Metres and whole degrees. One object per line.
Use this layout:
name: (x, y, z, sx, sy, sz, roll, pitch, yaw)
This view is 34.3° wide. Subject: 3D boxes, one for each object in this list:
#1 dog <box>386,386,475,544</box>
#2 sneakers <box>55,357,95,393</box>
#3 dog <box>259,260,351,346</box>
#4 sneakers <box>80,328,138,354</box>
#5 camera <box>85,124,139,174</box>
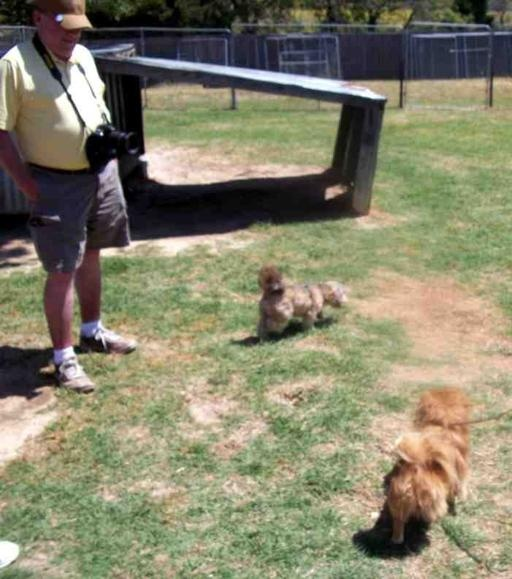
dog: (0.957, 0.868, 4.411, 0.336, 0.472, 0.955, 3, 32, 27)
sneakers: (-1.207, 0.570, 5.614, 0.361, 0.149, 0.156, 13, 21, 40)
dog: (0.325, 0.090, 6.444, 0.864, 0.526, 0.256, -1, 20, -39)
sneakers: (-1.093, 0.367, 6.080, 0.374, 0.151, 0.174, 0, 17, -12)
camera: (-0.872, -0.955, 5.354, 0.356, 0.228, 0.343, 1, 18, -9)
